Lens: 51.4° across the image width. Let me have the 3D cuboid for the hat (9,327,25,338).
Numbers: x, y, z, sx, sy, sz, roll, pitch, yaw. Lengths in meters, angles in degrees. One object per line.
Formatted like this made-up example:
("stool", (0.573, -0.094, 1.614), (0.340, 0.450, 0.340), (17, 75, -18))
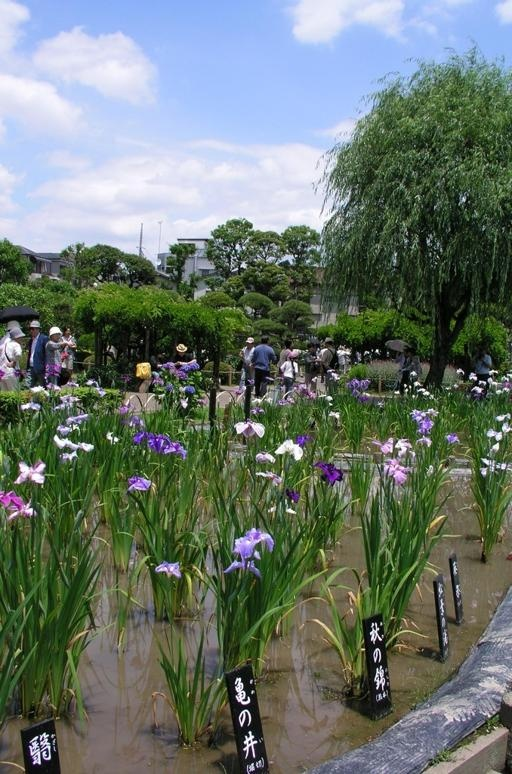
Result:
("hat", (-3.244, -0.732, 7.163), (0.166, 0.112, 0.168), (-2, 3, 35))

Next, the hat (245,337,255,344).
("hat", (-0.132, -1.120, 12.226), (0.134, 0.092, 0.240), (10, -3, 10))

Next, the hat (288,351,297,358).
("hat", (0.806, -0.714, 11.626), (0.181, 0.143, 0.373), (0, 2, -1))
